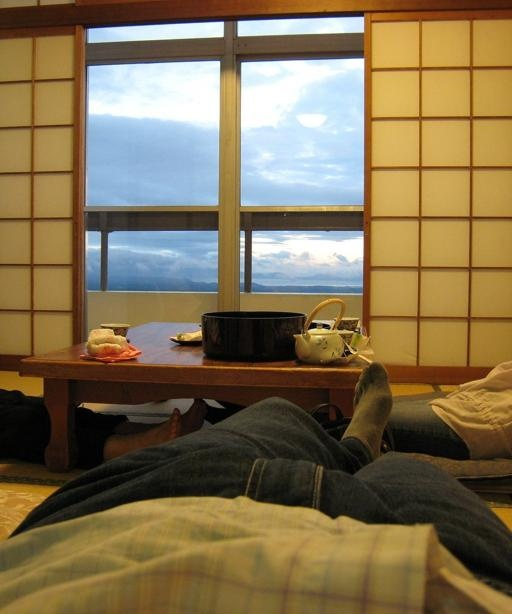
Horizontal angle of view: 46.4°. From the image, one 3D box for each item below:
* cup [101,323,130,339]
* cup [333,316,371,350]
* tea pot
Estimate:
[{"bbox_3d":[-0.452,0.066,1.924,0.075,0.050,0.074,1,7,0],"label":"cup"},{"bbox_3d":[0.286,0.071,1.762,0.093,0.039,0.114,4,8,3],"label":"cup"},{"bbox_3d":[0.162,0.062,1.529,0.127,0.150,0.138,1,0,0],"label":"tea pot"}]
